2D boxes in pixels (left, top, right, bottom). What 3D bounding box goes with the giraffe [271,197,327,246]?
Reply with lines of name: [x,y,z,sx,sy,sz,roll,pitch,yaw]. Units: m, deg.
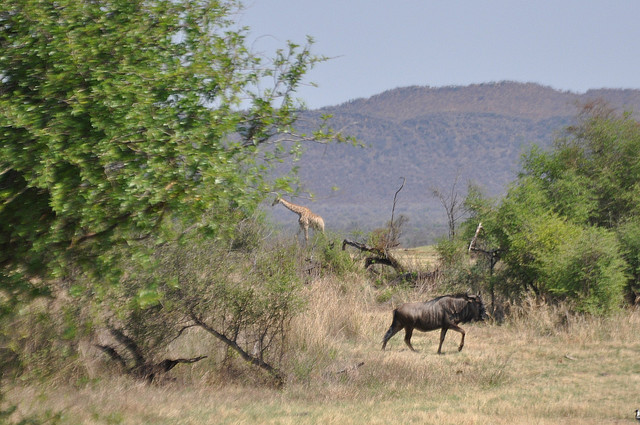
giraffe: [-0.890,0.383,35.158,3.063,1.902,0.746,9,-9,-33]
